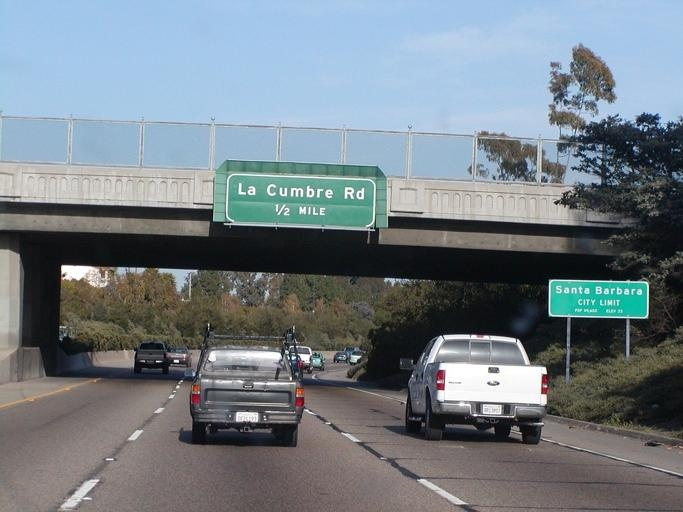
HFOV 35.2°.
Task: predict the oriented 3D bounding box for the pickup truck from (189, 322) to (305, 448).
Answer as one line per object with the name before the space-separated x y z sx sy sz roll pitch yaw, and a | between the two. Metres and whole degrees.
pickup truck | -2.505 3.510 28.748 2.779 3.197 2.450 -1 -1 -5

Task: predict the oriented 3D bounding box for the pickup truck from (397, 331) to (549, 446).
pickup truck | 3.786 3.788 31.259 3.358 3.207 6.214 4 -4 -2

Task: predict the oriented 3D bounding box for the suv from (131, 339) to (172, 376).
suv | -11.202 6.116 63.853 1.858 1.907 2.045 -1 -1 -2
